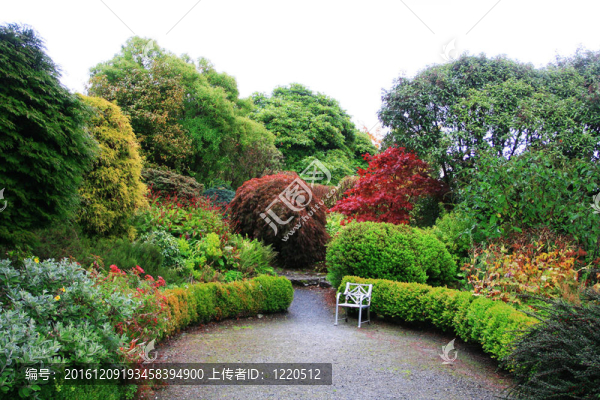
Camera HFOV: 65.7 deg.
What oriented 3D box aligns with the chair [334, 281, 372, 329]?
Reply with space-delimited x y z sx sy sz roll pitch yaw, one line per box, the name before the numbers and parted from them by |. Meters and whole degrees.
chair | 1.296 2.516 11.337 0.705 0.981 0.567 -3 -8 38
